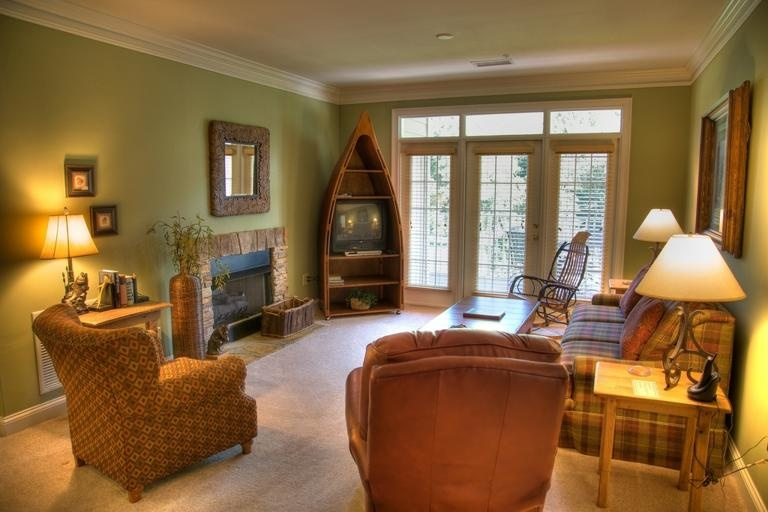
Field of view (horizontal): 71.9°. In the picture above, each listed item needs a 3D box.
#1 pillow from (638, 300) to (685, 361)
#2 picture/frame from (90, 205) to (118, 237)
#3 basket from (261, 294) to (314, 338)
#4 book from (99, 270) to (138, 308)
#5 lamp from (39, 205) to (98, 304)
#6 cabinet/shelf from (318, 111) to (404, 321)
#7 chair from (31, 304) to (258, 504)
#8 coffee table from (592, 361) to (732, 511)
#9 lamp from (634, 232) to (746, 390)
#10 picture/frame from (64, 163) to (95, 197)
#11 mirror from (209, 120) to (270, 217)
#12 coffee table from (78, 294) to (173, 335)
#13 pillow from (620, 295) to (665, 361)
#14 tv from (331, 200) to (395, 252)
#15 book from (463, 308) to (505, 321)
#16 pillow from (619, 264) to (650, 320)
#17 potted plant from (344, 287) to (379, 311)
[{"bbox_3d":[2.008,0.554,4.050,0.183,0.400,0.434,24,9,36],"label":"pillow"},{"bbox_3d":[-2.586,-0.325,4.874,0.035,0.334,0.285,6,12,30],"label":"picture/frame"},{"bbox_3d":[-1.195,0.603,6.489,0.396,0.362,0.747,2,4,25],"label":"basket"},{"bbox_3d":[-2.397,0.296,4.758,0.316,0.430,0.327,-2,0,37],"label":"book"},{"bbox_3d":[-2.684,0.000,4.515,0.403,0.808,0.393,-5,9,-33],"label":"lamp"},{"bbox_3d":[-0.276,-0.952,7.149,0.777,1.749,0.452,2,10,-12],"label":"cabinet/shelf"},{"bbox_3d":[-1.647,0.869,4.151,1.491,1.406,1.408,6,9,39],"label":"chair"},{"bbox_3d":[1.791,1.196,3.973,0.918,1.081,0.990,1,-1,12],"label":"coffee table"},{"bbox_3d":[1.982,0.379,3.493,0.544,1.046,0.358,-2,8,-15],"label":"lamp"},{"bbox_3d":[-2.709,-0.680,4.695,0.039,0.342,0.307,6,8,30],"label":"picture/frame"},{"bbox_3d":[-1.680,-1.008,6.155,0.128,1.047,0.868,5,9,30],"label":"mirror"},{"bbox_3d":[-2.307,0.470,4.655,0.284,0.365,0.391,8,11,26],"label":"coffee table"},{"bbox_3d":[2.022,0.540,4.143,0.161,0.438,0.426,26,57,32],"label":"pillow"},{"bbox_3d":[-0.324,-0.426,7.209,0.688,0.586,0.240,-2,12,-20],"label":"tv"},{"bbox_3d":[1.031,0.605,5.479,0.409,0.049,0.325,2,6,20],"label":"book"},{"bbox_3d":[2.359,0.346,5.000,0.147,0.497,0.508,13,33,32],"label":"pillow"},{"bbox_3d":[-0.326,0.587,7.264,0.311,0.169,0.306,1,0,23],"label":"potted plant"}]
